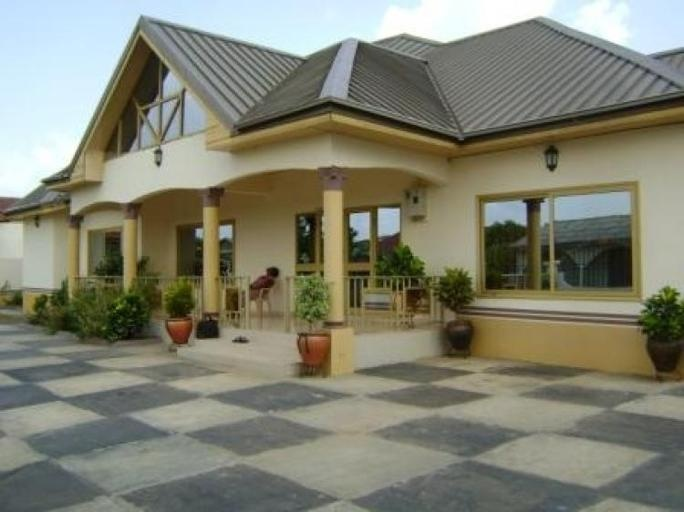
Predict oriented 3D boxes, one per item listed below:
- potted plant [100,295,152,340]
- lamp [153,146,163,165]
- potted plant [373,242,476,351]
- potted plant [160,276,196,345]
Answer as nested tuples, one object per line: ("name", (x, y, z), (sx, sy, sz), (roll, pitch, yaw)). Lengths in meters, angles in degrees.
("potted plant", (-5.588, 1.581, 14.535), (1.009, 1.000, 1.039), (10, -6, -27))
("lamp", (-4.719, -2.573, 14.410), (0.232, 0.507, 0.570), (-2, 4, -18))
("potted plant", (1.765, 0.942, 12.860), (1.160, 2.380, 2.820), (-3, 5, -38))
("potted plant", (-3.790, 1.330, 13.101), (0.680, 1.592, 1.042), (-2, 4, -18))
